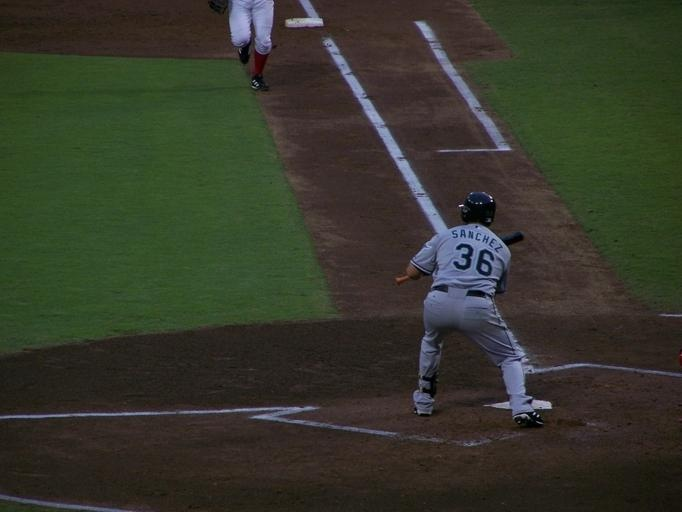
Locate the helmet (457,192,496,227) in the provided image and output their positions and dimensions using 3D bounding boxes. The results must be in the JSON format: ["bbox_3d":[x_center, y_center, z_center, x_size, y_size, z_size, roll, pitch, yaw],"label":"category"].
[{"bbox_3d":[1.403,-0.484,13.919,0.351,0.262,0.375,-9,16,-31],"label":"helmet"}]

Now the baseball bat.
[{"bbox_3d":[1.214,0.028,14.322,1.679,0.145,0.168,-18,-15,13],"label":"baseball bat"}]

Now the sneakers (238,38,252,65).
[{"bbox_3d":[-1.363,-2.959,20.464,0.246,0.397,0.154,-6,28,-11],"label":"sneakers"}]

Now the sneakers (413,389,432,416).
[{"bbox_3d":[0.813,1.399,13.730,0.242,0.204,0.259,3,-8,-8],"label":"sneakers"}]

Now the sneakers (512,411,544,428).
[{"bbox_3d":[1.783,1.508,13.412,0.282,0.089,0.168,3,12,15],"label":"sneakers"}]
